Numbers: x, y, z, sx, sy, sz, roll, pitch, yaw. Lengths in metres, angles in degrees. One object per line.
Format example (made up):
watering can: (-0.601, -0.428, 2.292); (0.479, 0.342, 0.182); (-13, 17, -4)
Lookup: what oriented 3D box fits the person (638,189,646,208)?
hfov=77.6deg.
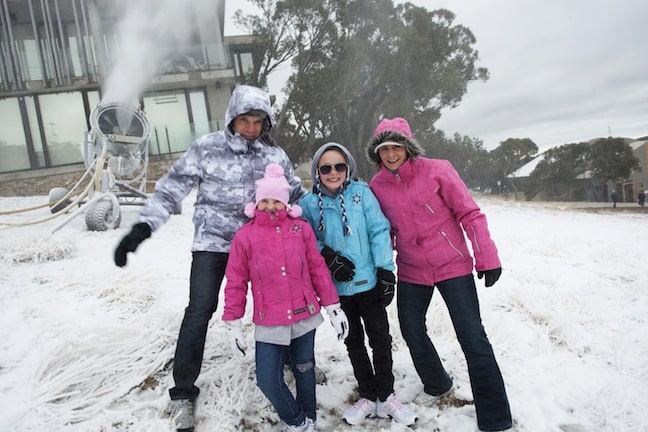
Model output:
person: (12.460, -0.750, 15.800); (0.285, 0.569, 2.076); (9, 12, 38)

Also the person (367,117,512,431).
person: (1.153, 0.514, 4.044); (1.498, 2.930, 0.468); (6, 10, 27)

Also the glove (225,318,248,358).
glove: (-0.851, 1.151, 3.823); (0.203, 0.109, 0.363); (12, 32, -38)

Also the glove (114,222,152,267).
glove: (-1.865, 0.252, 3.984); (0.291, 0.476, 0.188); (29, -10, 46)

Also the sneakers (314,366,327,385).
sneakers: (-0.038, 1.757, 4.480); (0.188, 0.065, 0.192); (26, 36, -10)

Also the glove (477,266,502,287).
glove: (1.610, 0.586, 3.962); (0.201, 0.267, 0.286); (5, 10, 21)

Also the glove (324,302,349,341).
glove: (0.119, 1.034, 4.005); (0.291, 0.310, 0.116); (-11, -11, -18)

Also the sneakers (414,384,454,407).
sneakers: (1.180, 1.888, 4.256); (0.463, 0.197, 0.175); (-3, -2, -15)

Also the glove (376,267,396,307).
glove: (0.597, 0.698, 3.964); (0.193, 0.353, 0.123); (19, -25, -32)

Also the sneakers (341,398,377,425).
sneakers: (0.368, 1.939, 4.099); (0.375, 0.182, 0.160); (-13, 2, -29)

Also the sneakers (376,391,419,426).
sneakers: (0.733, 1.902, 4.070); (0.422, 0.211, 0.204); (4, 15, 28)

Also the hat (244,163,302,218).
hat: (-0.484, -0.228, 4.177); (0.765, 0.762, 0.453); (1, 7, -8)
